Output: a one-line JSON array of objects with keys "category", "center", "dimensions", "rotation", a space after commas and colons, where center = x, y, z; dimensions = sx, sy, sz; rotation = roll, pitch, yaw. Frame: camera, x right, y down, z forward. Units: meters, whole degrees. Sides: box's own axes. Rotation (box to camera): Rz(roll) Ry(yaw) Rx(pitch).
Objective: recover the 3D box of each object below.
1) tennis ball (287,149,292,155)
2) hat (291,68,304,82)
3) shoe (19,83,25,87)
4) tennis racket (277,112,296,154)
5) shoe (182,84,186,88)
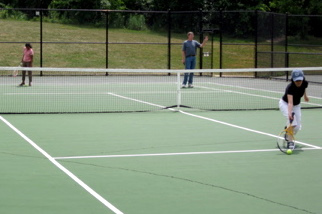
[{"category": "tennis ball", "center": [3.114, 1.103, 13.768], "dimensions": [0.108, 0.108, 0.131], "rotation": [0, -8, 36]}, {"category": "hat", "center": [3.319, -0.779, 13.785], "dimensions": [0.229, 0.189, 0.349], "rotation": [-3, 25, 25]}, {"category": "shoe", "center": [-6.195, -1.011, 25.427], "dimensions": [0.292, 0.187, 0.097], "rotation": [3, 7, 15]}, {"category": "tennis racket", "center": [3.112, 0.598, 13.901], "dimensions": [0.445, 1.041, 0.071], "rotation": [13, 21, 28]}, {"category": "shoe", "center": [1.016, -0.906, 24.939], "dimensions": [0.105, 0.134, 0.190], "rotation": [3, -4, -19]}]
